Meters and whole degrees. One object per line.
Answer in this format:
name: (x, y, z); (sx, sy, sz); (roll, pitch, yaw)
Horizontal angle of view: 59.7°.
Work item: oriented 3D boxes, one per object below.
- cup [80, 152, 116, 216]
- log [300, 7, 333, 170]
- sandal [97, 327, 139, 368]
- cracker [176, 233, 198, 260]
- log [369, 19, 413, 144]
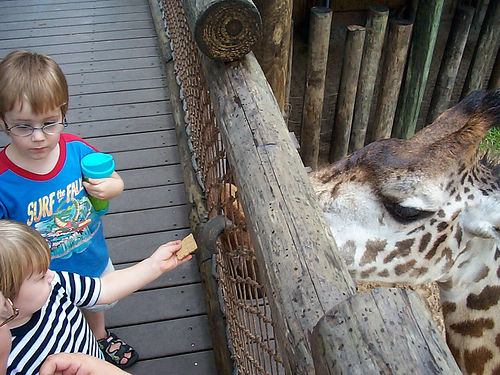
cup: (-0.675, 0.000, 1.959); (0.140, 0.323, 0.148); (5, 31, -3)
log: (0.684, -1.129, 5.115); (0.458, 2.620, 0.425); (-2, 33, 4)
sandal: (-0.679, 0.804, 2.168); (0.256, 0.092, 0.139); (28, 37, 29)
cracker: (-0.251, 0.253, 1.851); (0.104, 0.026, 0.103); (-17, 47, 42)
log: (1.689, -1.229, 5.291); (0.287, 2.127, 0.267); (-44, 65, -12)
